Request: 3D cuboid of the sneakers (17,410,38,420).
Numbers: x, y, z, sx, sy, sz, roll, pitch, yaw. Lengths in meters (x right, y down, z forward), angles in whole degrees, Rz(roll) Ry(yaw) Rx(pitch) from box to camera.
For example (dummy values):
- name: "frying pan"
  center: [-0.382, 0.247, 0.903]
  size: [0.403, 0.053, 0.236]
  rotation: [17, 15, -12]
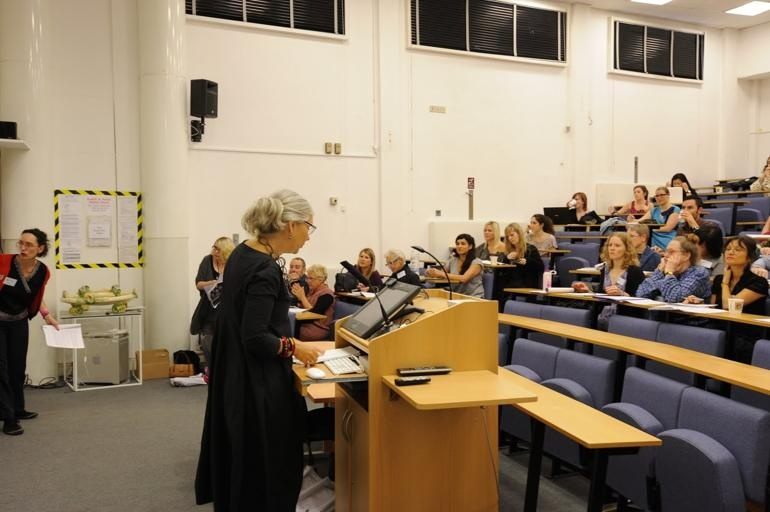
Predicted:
- name: "sneakers"
  center: [-3.574, 1.590, 5.666]
  size: [0.168, 0.078, 0.064]
  rotation: [2, -1, -26]

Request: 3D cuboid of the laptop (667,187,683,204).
- name: "laptop"
  center: [4.585, -0.942, 8.940]
  size: [0.249, 0.279, 0.258]
  rotation: [-2, -1, 43]

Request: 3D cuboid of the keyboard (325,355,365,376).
- name: "keyboard"
  center: [-0.250, 0.651, 3.410]
  size: [0.204, 0.057, 0.279]
  rotation: [-4, 6, -16]

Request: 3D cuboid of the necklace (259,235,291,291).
- name: "necklace"
  center: [-0.641, 0.036, 3.429]
  size: [0.054, 0.277, 0.195]
  rotation: [-15, 26, -21]

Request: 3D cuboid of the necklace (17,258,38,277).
- name: "necklace"
  center: [-3.489, 0.107, 5.503]
  size: [0.123, 0.096, 0.169]
  rotation: [7, 36, -29]

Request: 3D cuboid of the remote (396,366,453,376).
- name: "remote"
  center: [0.228, 0.669, 3.275]
  size: [0.320, 0.059, 0.075]
  rotation: [-3, 6, -11]

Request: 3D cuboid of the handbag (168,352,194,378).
- name: "handbag"
  center: [-2.443, 1.319, 6.810]
  size: [0.257, 0.300, 0.136]
  rotation: [0, -18, -8]

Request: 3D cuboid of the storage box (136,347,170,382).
- name: "storage box"
  center: [-2.829, 1.339, 6.930]
  size: [0.385, 0.322, 0.393]
  rotation: [1, -2, -29]

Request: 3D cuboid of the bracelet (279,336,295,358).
- name: "bracelet"
  center: [-0.578, 0.539, 3.342]
  size: [0.039, 0.113, 0.097]
  rotation: [2, 7, -30]

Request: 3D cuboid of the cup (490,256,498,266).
- name: "cup"
  center: [1.399, 0.050, 7.264]
  size: [0.114, 0.131, 0.120]
  rotation: [2, 2, 0]

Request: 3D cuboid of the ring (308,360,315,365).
- name: "ring"
  center: [-0.443, 0.647, 3.411]
  size: [0.044, 0.015, 0.033]
  rotation: [-16, 7, -4]

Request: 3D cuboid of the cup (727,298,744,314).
- name: "cup"
  center: [2.937, 0.414, 4.739]
  size: [0.096, 0.105, 0.123]
  rotation: [1, -7, -13]

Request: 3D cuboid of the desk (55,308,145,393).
- name: "desk"
  center: [-3.501, 1.086, 6.982]
  size: [0.938, 0.997, 0.997]
  rotation: [0, -3, -30]

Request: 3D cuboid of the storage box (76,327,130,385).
- name: "storage box"
  center: [-3.300, 1.177, 6.687]
  size: [0.575, 0.823, 0.614]
  rotation: [3, -5, -30]

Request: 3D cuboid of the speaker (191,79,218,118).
- name: "speaker"
  center: [-2.409, -2.108, 7.519]
  size: [0.363, 0.472, 0.259]
  rotation: [-4, 6, -20]

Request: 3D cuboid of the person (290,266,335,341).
- name: "person"
  center: [-0.812, 0.538, 6.247]
  size: [0.475, 0.894, 0.387]
  rotation: [13, -27, -30]
